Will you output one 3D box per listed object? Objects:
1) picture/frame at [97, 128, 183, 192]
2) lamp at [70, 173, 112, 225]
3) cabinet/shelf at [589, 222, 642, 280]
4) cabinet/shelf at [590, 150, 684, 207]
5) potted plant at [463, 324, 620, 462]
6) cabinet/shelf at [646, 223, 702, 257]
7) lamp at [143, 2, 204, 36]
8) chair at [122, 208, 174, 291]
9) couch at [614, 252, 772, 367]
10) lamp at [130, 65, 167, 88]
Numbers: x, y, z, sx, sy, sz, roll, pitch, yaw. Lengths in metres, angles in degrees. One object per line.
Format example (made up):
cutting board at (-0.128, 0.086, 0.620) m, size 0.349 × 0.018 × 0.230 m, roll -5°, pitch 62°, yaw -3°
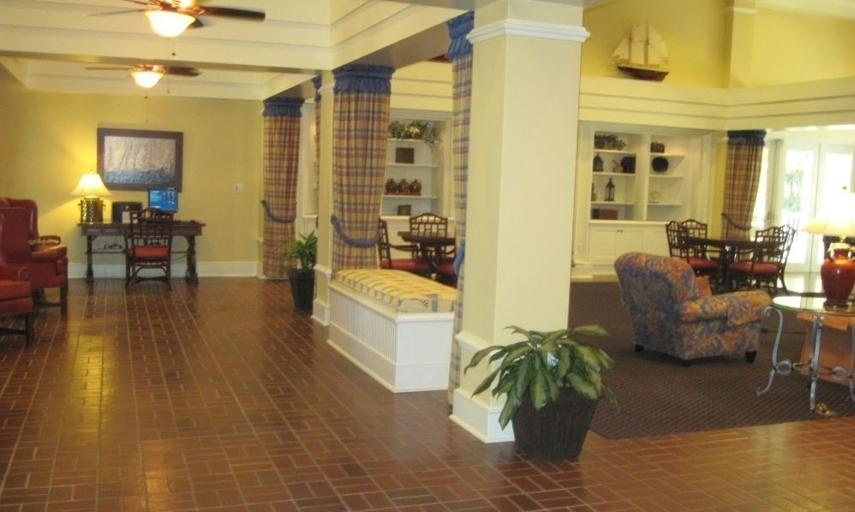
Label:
picture/frame at (-5.410, -1.806, 11.543) m, size 1.546 × 0.998 × 0.052 m, roll 1°, pitch 2°, yaw -14°
lamp at (-6.007, -1.053, 11.096) m, size 0.553 × 0.926 × 0.693 m, roll -4°, pitch 8°, yaw -28°
cabinet/shelf at (4.008, -0.230, 13.139) m, size 1.300 × 1.023 × 0.499 m, roll 3°, pitch 14°, yaw 7°
cabinet/shelf at (4.491, -1.707, 13.448) m, size 1.576 × 0.774 × 0.208 m, roll 0°, pitch 2°, yaw -10°
potted plant at (0.958, 1.158, 5.629) m, size 1.349 × 0.806 × 1.242 m, roll 0°, pitch -1°, yaw -14°
cabinet/shelf at (4.929, -0.342, 12.412) m, size 0.883 × 0.701 × 0.454 m, roll 0°, pitch 0°, yaw -20°
lamp at (-2.910, -2.715, 7.107) m, size 0.524 × 0.160 × 0.481 m, roll -1°, pitch 1°, yaw -20°
chair at (-4.856, -0.168, 10.862) m, size 0.792 × 1.305 × 1.201 m, roll -3°, pitch 8°, yaw -22°
couch at (3.307, 0.623, 7.751) m, size 1.762 × 1.044 × 1.803 m, roll 5°, pitch 2°, yaw 26°
lamp at (-4.181, -2.716, 9.348) m, size 0.409 × 0.262 × 0.404 m, roll -1°, pitch 7°, yaw -8°
